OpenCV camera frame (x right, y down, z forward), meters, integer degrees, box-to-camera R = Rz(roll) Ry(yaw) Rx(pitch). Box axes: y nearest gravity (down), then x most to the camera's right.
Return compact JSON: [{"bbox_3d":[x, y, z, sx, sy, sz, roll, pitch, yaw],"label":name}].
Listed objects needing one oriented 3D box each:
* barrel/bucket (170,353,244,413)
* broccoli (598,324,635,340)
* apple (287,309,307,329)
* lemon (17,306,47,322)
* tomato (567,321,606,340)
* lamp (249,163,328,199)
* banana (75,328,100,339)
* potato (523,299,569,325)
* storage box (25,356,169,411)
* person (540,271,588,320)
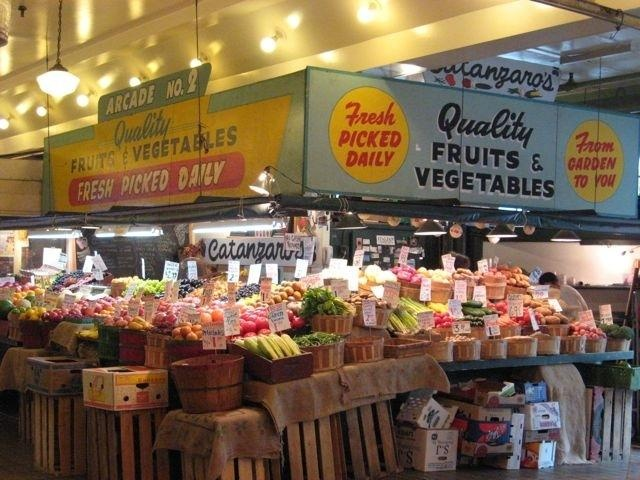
[{"bbox_3d":[-0.985,1.212,4.768,0.575,0.322,0.529,-1,-4,0],"label":"barrel/bucket"},{"bbox_3d":[4.106,1.258,7.374,0.301,0.121,0.222,4,2,-23],"label":"broccoli"},{"bbox_3d":[-0.272,0.856,5.793,0.155,0.191,0.215,3,-3,-41],"label":"apple"},{"bbox_3d":[-3.854,0.996,7.252,0.226,0.089,0.228,-4,3,36],"label":"lemon"},{"bbox_3d":[3.523,1.204,7.141,0.333,0.100,0.315,3,-2,-14],"label":"tomato"},{"bbox_3d":[-0.389,-0.670,6.252,0.931,0.382,0.299,5,18,36],"label":"lamp"},{"bbox_3d":[-2.704,1.091,6.289,0.202,0.061,0.193,5,4,-5],"label":"banana"},{"bbox_3d":[2.972,0.958,7.123,0.393,0.112,0.377,1,0,-23],"label":"potato"},{"bbox_3d":[-2.303,1.460,5.553,1.701,0.404,0.482,-1,-3,35],"label":"storage box"},{"bbox_3d":[3.933,0.903,8.743,0.546,0.311,1.031,3,1,11],"label":"person"}]
